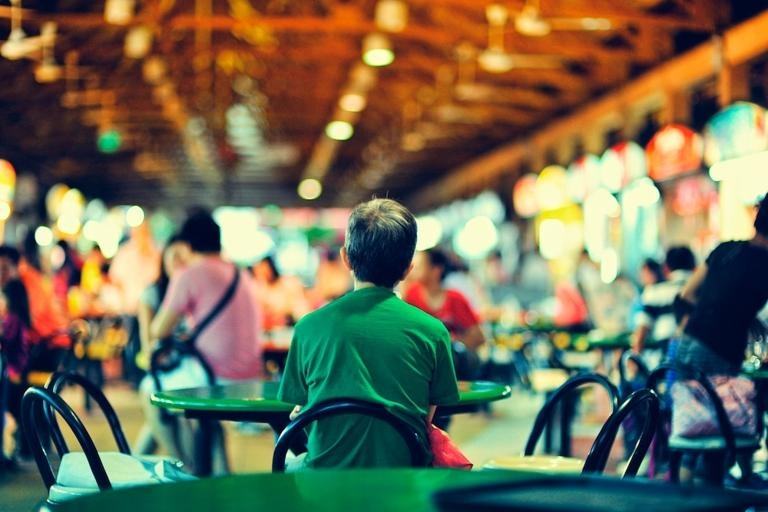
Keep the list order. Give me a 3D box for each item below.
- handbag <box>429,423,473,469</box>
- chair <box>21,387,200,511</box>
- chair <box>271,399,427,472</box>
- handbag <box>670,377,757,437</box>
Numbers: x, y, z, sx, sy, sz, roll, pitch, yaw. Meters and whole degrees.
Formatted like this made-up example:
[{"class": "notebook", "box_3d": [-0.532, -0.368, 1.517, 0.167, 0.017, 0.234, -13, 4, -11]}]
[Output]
[{"class": "handbag", "box_3d": [0.423, 1.339, 7.455, 0.127, 0.325, 0.246, -34, -4, 34]}, {"class": "chair", "box_3d": [-1.912, 1.391, 7.940, 0.950, 1.123, 1.032, -6, -5, 10]}, {"class": "chair", "box_3d": [-0.200, 1.231, 7.285, 1.068, 0.511, 0.231, 5, -9, -3]}, {"class": "handbag", "box_3d": [2.767, 1.265, 8.882, 0.795, 0.546, 0.443, -7, -15, 35]}]
